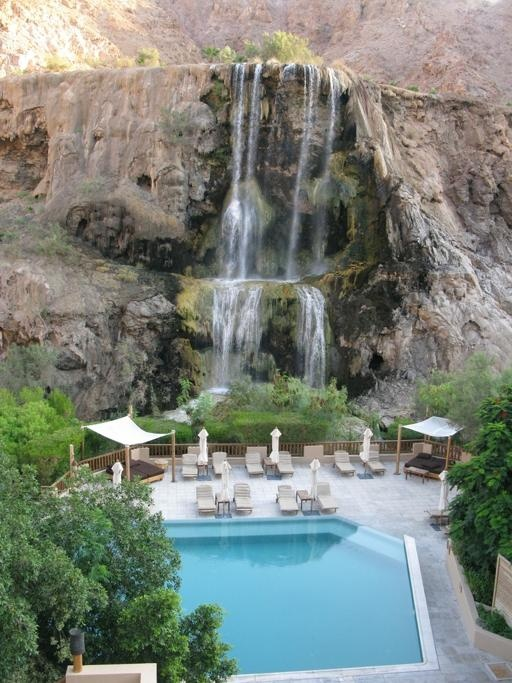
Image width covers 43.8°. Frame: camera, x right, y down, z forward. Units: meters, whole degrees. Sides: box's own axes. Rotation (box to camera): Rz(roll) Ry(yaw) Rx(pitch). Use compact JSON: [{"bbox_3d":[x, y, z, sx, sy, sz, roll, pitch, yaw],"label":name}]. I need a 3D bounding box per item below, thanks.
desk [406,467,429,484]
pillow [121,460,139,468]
[{"bbox_3d":[4.841,4.026,19.295,0.718,0.352,0.550,5,10,18],"label":"desk"},{"bbox_3d":[-3.554,3.480,17.918,0.255,0.093,0.387,-18,35,-36],"label":"pillow"}]
